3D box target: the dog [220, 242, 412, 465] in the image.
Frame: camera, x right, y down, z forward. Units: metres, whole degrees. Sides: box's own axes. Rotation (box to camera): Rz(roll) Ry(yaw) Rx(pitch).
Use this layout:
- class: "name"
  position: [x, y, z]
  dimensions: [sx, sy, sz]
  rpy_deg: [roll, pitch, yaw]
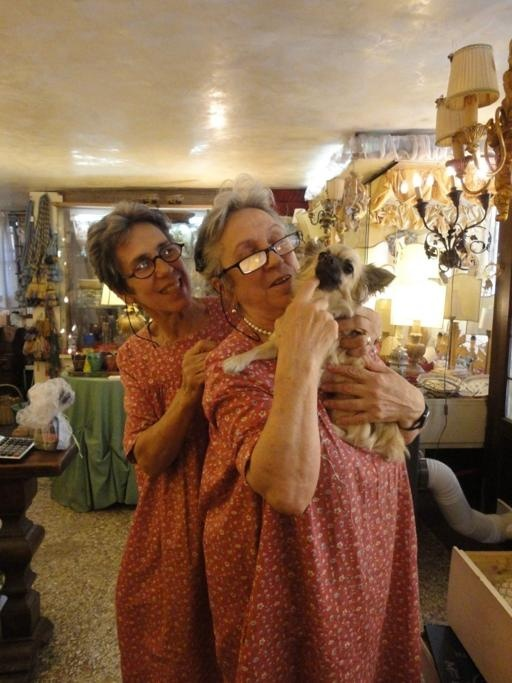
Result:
- class: "dog"
  position: [0.118, -0.028, 1.459]
  dimensions: [0.478, 0.723, 0.318]
  rpy_deg: [-4, -1, -30]

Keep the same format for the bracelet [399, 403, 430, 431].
- class: "bracelet"
  position: [0.452, 0.226, 1.439]
  dimensions: [0.083, 0.029, 0.076]
  rpy_deg: [-24, 16, 12]

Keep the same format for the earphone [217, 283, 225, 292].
- class: "earphone"
  position: [-0.103, -0.158, 1.496]
  dimensions: [0.018, 0.024, 0.009]
  rpy_deg: [-3, -3, 41]

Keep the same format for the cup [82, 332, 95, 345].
- class: "cup"
  position: [-1.812, -0.015, 5.437]
  dimensions: [0.158, 0.144, 0.153]
  rpy_deg: [0, 8, 0]

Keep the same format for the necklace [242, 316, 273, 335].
- class: "necklace"
  position: [0.005, -0.047, 1.418]
  dimensions: [0.054, 0.015, 0.044]
  rpy_deg: [28, 4, 34]
